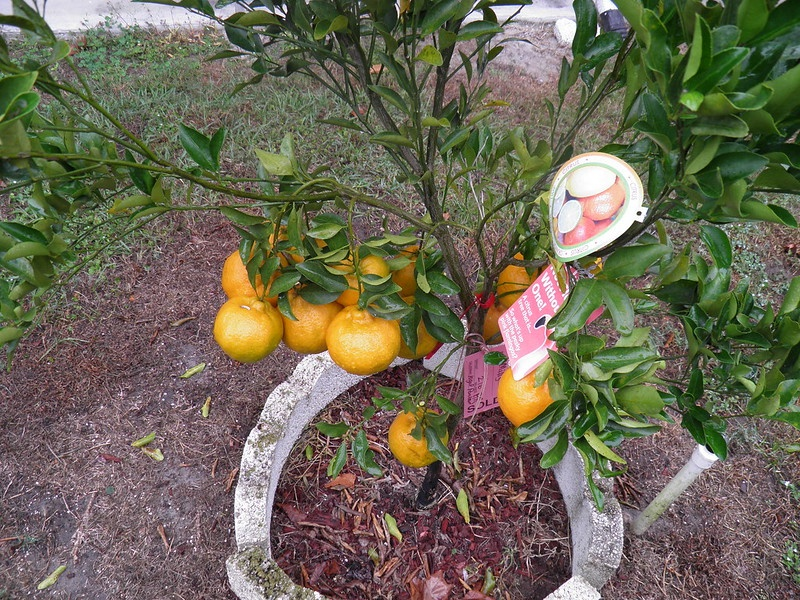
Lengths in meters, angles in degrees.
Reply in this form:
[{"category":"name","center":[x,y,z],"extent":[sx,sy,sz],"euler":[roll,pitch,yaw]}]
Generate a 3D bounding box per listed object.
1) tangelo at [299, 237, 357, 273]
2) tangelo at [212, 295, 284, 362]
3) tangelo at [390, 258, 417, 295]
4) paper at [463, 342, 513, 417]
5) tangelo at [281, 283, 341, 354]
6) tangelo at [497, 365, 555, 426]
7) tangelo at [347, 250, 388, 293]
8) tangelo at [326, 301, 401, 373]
[{"category":"tangelo","center":[-0.175,-0.108,1.367],"extent":[0.116,0.058,0.075],"euler":[10,79,-5]},{"category":"tangelo","center":[-0.373,0.064,1.436],"extent":[0.152,0.160,0.153],"euler":[24,33,16]},{"category":"tangelo","center":[0.024,-0.065,1.483],"extent":[0.069,0.089,0.073],"euler":[4,29,14]},{"category":"paper","center":[0.247,0.216,1.619],"extent":[0.197,0.204,0.010],"euler":[-34,45,-20]},{"category":"tangelo","center":[-0.202,0.047,1.472],"extent":[0.137,0.177,0.147],"euler":[8,48,10]},{"category":"tangelo","center":[0.285,0.233,1.338],"extent":[0.118,0.126,0.154],"euler":[-3,54,6]},{"category":"tangelo","center":[-0.075,-0.067,1.377],"extent":[0.081,0.083,0.087],"euler":[-12,91,6]},{"category":"tangelo","center":[-0.091,0.099,1.424],"extent":[0.153,0.162,0.159],"euler":[23,44,20]}]
